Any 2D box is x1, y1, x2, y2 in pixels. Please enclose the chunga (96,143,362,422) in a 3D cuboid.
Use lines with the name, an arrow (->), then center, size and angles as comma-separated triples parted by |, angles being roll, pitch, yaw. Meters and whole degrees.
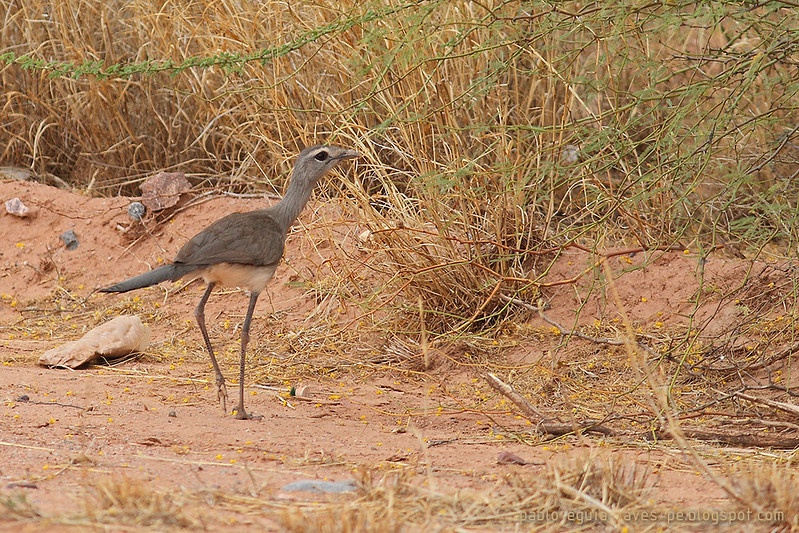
chunga -> -1.036, 0.043, 5.375 | 0.587, 1.792, 1.429 | 8, 8, 39
